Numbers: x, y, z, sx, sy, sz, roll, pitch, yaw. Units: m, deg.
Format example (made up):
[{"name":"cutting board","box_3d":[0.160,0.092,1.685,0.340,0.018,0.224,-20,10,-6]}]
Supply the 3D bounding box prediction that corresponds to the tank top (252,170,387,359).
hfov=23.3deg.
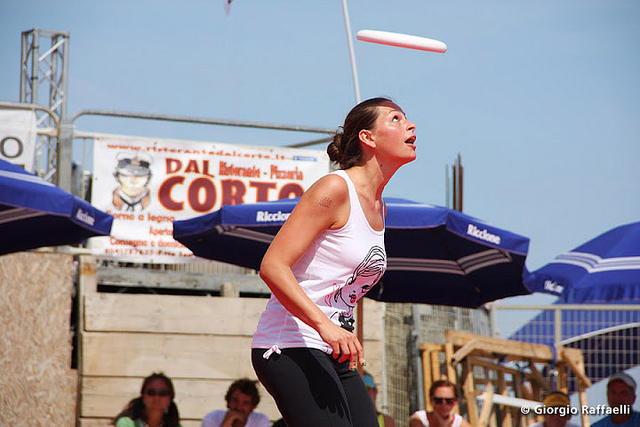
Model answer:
[{"name":"tank top","box_3d":[0.276,0.519,17.485,1.234,1.991,1.214,13,7,-25]}]
